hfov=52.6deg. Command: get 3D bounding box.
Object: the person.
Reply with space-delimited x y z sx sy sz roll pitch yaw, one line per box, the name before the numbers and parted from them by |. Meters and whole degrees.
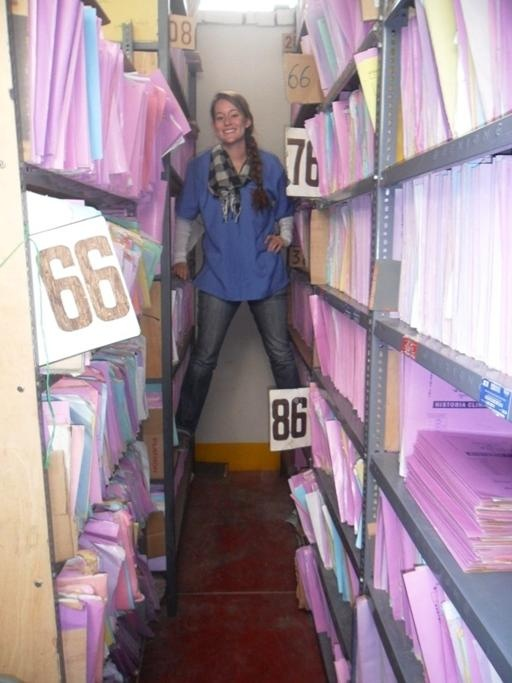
person | -0.101 -0.321 2.762 0.605 2.271 0.462 -4 -23 3
